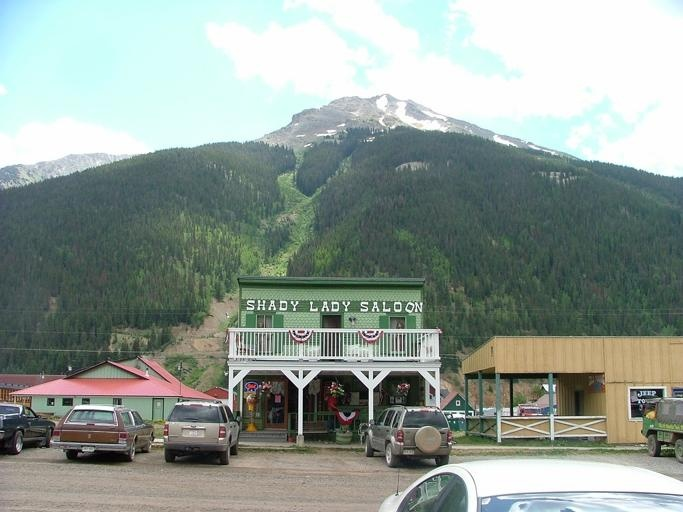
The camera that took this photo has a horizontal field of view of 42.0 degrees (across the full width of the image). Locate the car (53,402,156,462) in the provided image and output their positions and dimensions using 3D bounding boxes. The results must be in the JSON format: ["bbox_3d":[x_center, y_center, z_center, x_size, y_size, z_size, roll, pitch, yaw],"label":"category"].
[{"bbox_3d":[-10.394,7.586,38.451,4.046,2.362,2.446,4,-11,-21],"label":"car"}]

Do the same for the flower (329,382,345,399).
[{"bbox_3d":[-0.305,7.389,48.370,0.932,1.076,0.962,-5,-7,39],"label":"flower"}]

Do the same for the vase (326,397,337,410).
[{"bbox_3d":[-0.573,7.968,48.061,0.644,0.699,0.249,4,-20,-14],"label":"vase"}]
